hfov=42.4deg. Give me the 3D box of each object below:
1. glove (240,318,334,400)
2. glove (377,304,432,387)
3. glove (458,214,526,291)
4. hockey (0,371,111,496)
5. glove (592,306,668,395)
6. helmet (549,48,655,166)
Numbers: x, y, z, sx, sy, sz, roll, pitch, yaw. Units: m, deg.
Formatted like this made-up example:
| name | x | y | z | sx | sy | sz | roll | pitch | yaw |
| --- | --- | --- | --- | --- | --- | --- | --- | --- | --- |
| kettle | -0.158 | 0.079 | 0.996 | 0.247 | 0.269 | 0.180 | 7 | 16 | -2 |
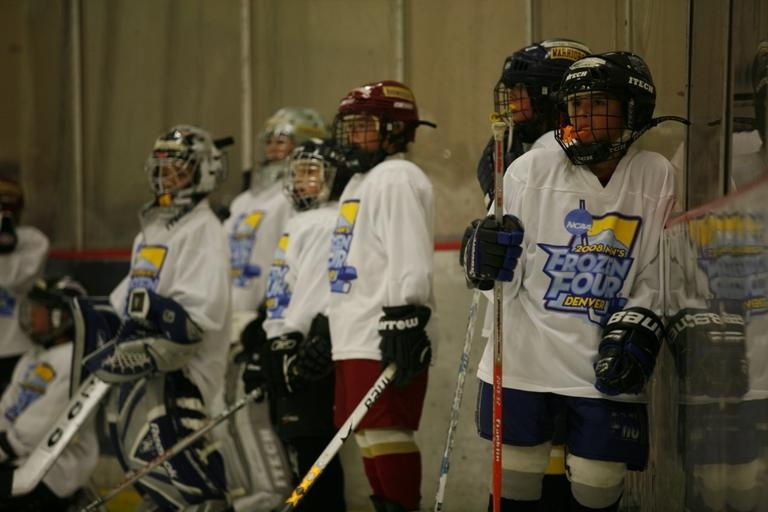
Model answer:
| name | x | y | z | sx | sy | sz | roll | pitch | yaw |
| --- | --- | --- | --- | --- | --- | --- | --- | --- | --- |
| glove | -0.493 | 0.580 | 5.299 | 0.450 | 0.376 | 0.246 | -3 | -32 | 23 |
| glove | 0.136 | 0.437 | 4.865 | 0.312 | 0.498 | 0.355 | 1 | -3 | 2 |
| glove | 0.478 | -0.005 | 4.463 | 0.289 | 0.320 | 0.107 | 0 | 2 | 14 |
| hockey | -1.909 | 1.012 | 5.669 | 0.183 | 0.811 | 0.197 | 38 | -2 | 13 |
| glove | 1.077 | 0.404 | 4.330 | 0.272 | 0.371 | 0.381 | 3 | -43 | 35 |
| helmet | 0.999 | -0.628 | 4.616 | 0.496 | 0.512 | 0.391 | 8 | -15 | -28 |
